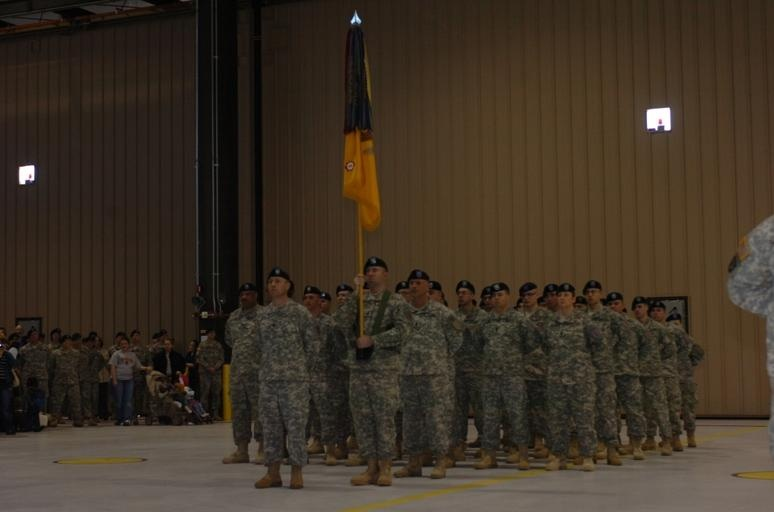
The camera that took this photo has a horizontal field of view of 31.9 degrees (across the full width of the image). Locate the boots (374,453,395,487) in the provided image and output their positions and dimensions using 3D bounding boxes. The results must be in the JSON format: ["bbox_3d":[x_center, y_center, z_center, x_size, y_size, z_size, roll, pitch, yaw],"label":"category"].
[{"bbox_3d":[-0.063,3.780,23.827,0.264,0.495,0.345,-2,-11,-11],"label":"boots"}]

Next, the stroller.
[{"bbox_3d":[-5.159,3.359,32.303,1.401,1.345,1.215,-3,-9,15],"label":"stroller"}]

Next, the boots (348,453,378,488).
[{"bbox_3d":[-0.389,3.870,24.173,0.629,0.588,0.317,3,-9,1],"label":"boots"}]

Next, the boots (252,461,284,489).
[{"bbox_3d":[-2.095,3.845,23.773,0.493,0.423,0.414,-3,-11,-6],"label":"boots"}]

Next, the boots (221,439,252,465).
[{"bbox_3d":[-2.890,3.804,26.000,0.631,0.557,0.291,6,-12,-3],"label":"boots"}]
